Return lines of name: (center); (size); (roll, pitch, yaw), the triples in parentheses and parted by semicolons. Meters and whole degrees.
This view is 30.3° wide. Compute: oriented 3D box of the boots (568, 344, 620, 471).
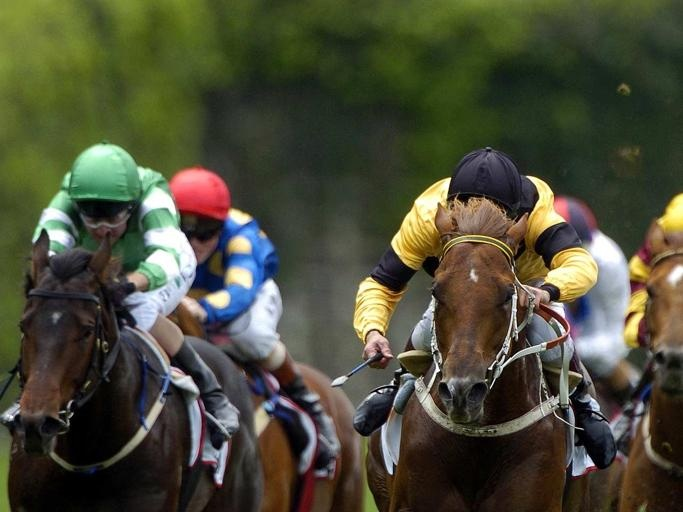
boots: (1.580, 0.949, 7.968); (0.178, 0.849, 0.441); (-22, 1, 16)

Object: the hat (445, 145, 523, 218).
hat: (0.811, -0.432, 7.189); (0.307, 0.279, 0.459); (9, 10, 14)

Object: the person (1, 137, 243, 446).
person: (-1.226, 0.197, 7.686); (0.820, 1.869, 1.099); (-6, 18, 20)

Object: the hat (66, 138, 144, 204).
hat: (-1.394, -0.490, 7.617); (0.281, 0.266, 0.413); (1, 6, 3)

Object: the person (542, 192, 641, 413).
person: (2.019, 0.446, 9.799); (0.525, 2.263, 1.100); (-5, -1, 23)

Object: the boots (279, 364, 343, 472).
boots: (-0.148, 1.119, 8.997); (0.232, 0.701, 0.484); (-16, 4, -31)
